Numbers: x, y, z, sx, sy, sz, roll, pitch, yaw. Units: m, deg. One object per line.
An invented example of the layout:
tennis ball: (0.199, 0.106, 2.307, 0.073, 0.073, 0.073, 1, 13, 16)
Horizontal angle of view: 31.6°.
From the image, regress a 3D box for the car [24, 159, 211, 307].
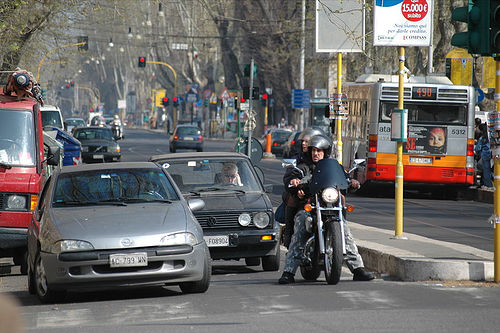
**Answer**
car: (-2.120, 0.899, 13.813, 1.817, 1.303, 2.866, -1, -7, -16)

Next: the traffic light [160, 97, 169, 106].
traffic light: (-6.975, -5.318, 72.106, 0.583, 0.712, 1.784, -3, 3, -8)

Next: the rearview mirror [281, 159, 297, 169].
rearview mirror: (0.652, -0.028, 14.979, 0.209, 0.091, 0.213, 2, 4, 32)

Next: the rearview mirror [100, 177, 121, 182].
rearview mirror: (-2.295, 0.202, 14.522, 0.308, 0.081, 0.062, -3, 3, -15)

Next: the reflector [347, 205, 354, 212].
reflector: (1.651, 0.679, 14.668, 0.115, 0.118, 0.038, 2, -7, 0)

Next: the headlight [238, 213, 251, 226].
headlight: (-0.098, 0.904, 15.429, 0.222, 0.219, 0.056, -2, 3, 0)

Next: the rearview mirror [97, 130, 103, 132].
rearview mirror: (-6.473, -1.539, 37.871, 0.302, 0.058, 0.074, -5, 8, -32)

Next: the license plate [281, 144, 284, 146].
license plate: (1.819, -1.229, 49.929, 0.167, 0.172, 0.306, 1, -6, 0)

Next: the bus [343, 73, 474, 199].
bus: (4.892, -1.073, 27.542, 4.071, 3.812, 2.678, -1, 3, 25)

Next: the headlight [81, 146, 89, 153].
headlight: (-6.768, -0.719, 36.105, 0.297, 0.284, 0.070, 2, 1, 3)

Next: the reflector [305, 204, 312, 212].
reflector: (0.946, 0.658, 14.398, 0.105, 0.107, 0.106, -3, 13, -17)

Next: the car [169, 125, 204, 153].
car: (-3.466, -1.239, 48.308, 1.743, 1.547, 3.612, 0, 8, -9)

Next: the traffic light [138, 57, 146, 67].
traffic light: (-7.030, -6.788, 57.513, 0.438, 0.638, 1.181, -3, 3, -10)

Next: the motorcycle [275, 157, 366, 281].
motorcycle: (1.187, 0.898, 14.598, 1.018, 2.074, 0.785, 0, 3, 34)

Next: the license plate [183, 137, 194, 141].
license plate: (-3.358, -1.518, 48.053, 0.584, 0.200, 0.164, -2, 3, -5)

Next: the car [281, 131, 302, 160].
car: (1.912, -0.928, 40.568, 0.925, 0.761, 2.039, 0, 5, -2)

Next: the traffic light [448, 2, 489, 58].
traffic light: (3.507, -2.199, 14.159, 0.418, 0.892, 0.648, -3, 3, -12)

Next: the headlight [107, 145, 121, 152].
headlight: (-5.624, -0.745, 36.288, 0.502, 0.241, 0.250, -3, 3, -16)

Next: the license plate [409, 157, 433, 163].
license plate: (5.177, -0.213, 26.727, 0.670, 0.179, 0.053, -2, 3, 9)

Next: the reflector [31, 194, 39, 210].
reflector: (-3.858, 0.618, 15.830, 0.141, 0.275, 0.248, -3, 3, -14)

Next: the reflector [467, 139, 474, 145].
reflector: (6.655, -0.754, 26.656, 0.232, 0.165, 0.108, -4, 3, -31)

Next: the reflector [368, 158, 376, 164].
reflector: (3.680, -0.184, 26.780, 0.081, 0.164, 0.279, -5, 4, -44)

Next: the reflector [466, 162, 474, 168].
reflector: (6.596, -0.055, 26.545, 0.157, 0.150, 0.158, -1, 7, -7)

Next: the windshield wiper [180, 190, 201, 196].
windshield wiper: (-1.071, 0.469, 15.819, 0.418, 0.062, 0.032, 4, 7, 27)

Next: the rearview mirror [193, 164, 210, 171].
rearview mirror: (-0.890, 0.002, 16.235, 0.306, 0.117, 0.087, -3, 3, -8)

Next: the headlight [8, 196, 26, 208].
headlight: (-4.172, 0.615, 15.812, 0.308, 0.217, 0.058, -3, 3, -18)
